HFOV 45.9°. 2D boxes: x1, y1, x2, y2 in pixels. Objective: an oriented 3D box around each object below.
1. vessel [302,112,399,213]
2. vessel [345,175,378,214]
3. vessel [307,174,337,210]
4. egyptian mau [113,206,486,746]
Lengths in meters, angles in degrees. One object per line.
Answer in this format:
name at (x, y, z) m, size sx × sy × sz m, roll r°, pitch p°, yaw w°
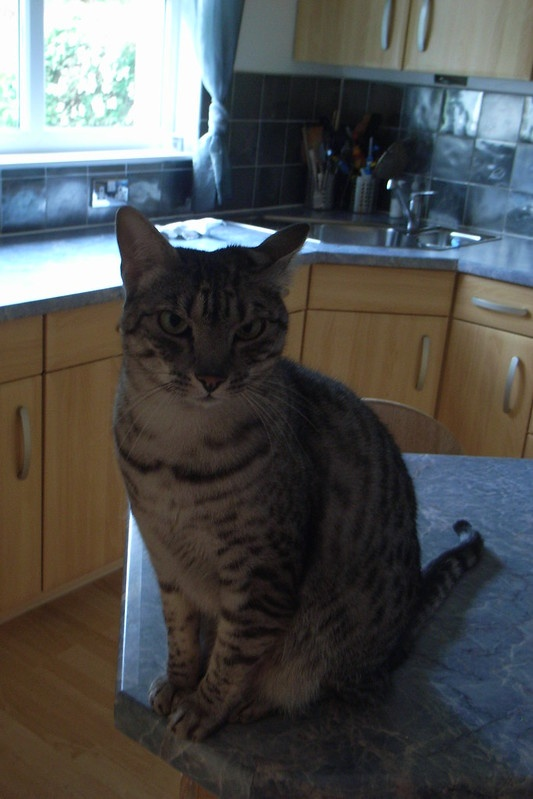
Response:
vessel at (0.323, -1.091, 3.042) m, size 0.467 × 0.494 × 0.457 m, roll -2°, pitch 21°, yaw -10°
vessel at (0.458, -0.991, 3.007) m, size 0.139 × 0.225 × 0.148 m, roll 14°, pitch 32°, yaw 26°
vessel at (0.249, -0.998, 2.991) m, size 0.130 × 0.155 × 0.132 m, roll -24°, pitch 37°, yaw -37°
egyptian mau at (0.057, 0.056, 0.660) m, size 0.437 × 0.444 × 0.215 m, roll -5°, pitch 6°, yaw -43°
